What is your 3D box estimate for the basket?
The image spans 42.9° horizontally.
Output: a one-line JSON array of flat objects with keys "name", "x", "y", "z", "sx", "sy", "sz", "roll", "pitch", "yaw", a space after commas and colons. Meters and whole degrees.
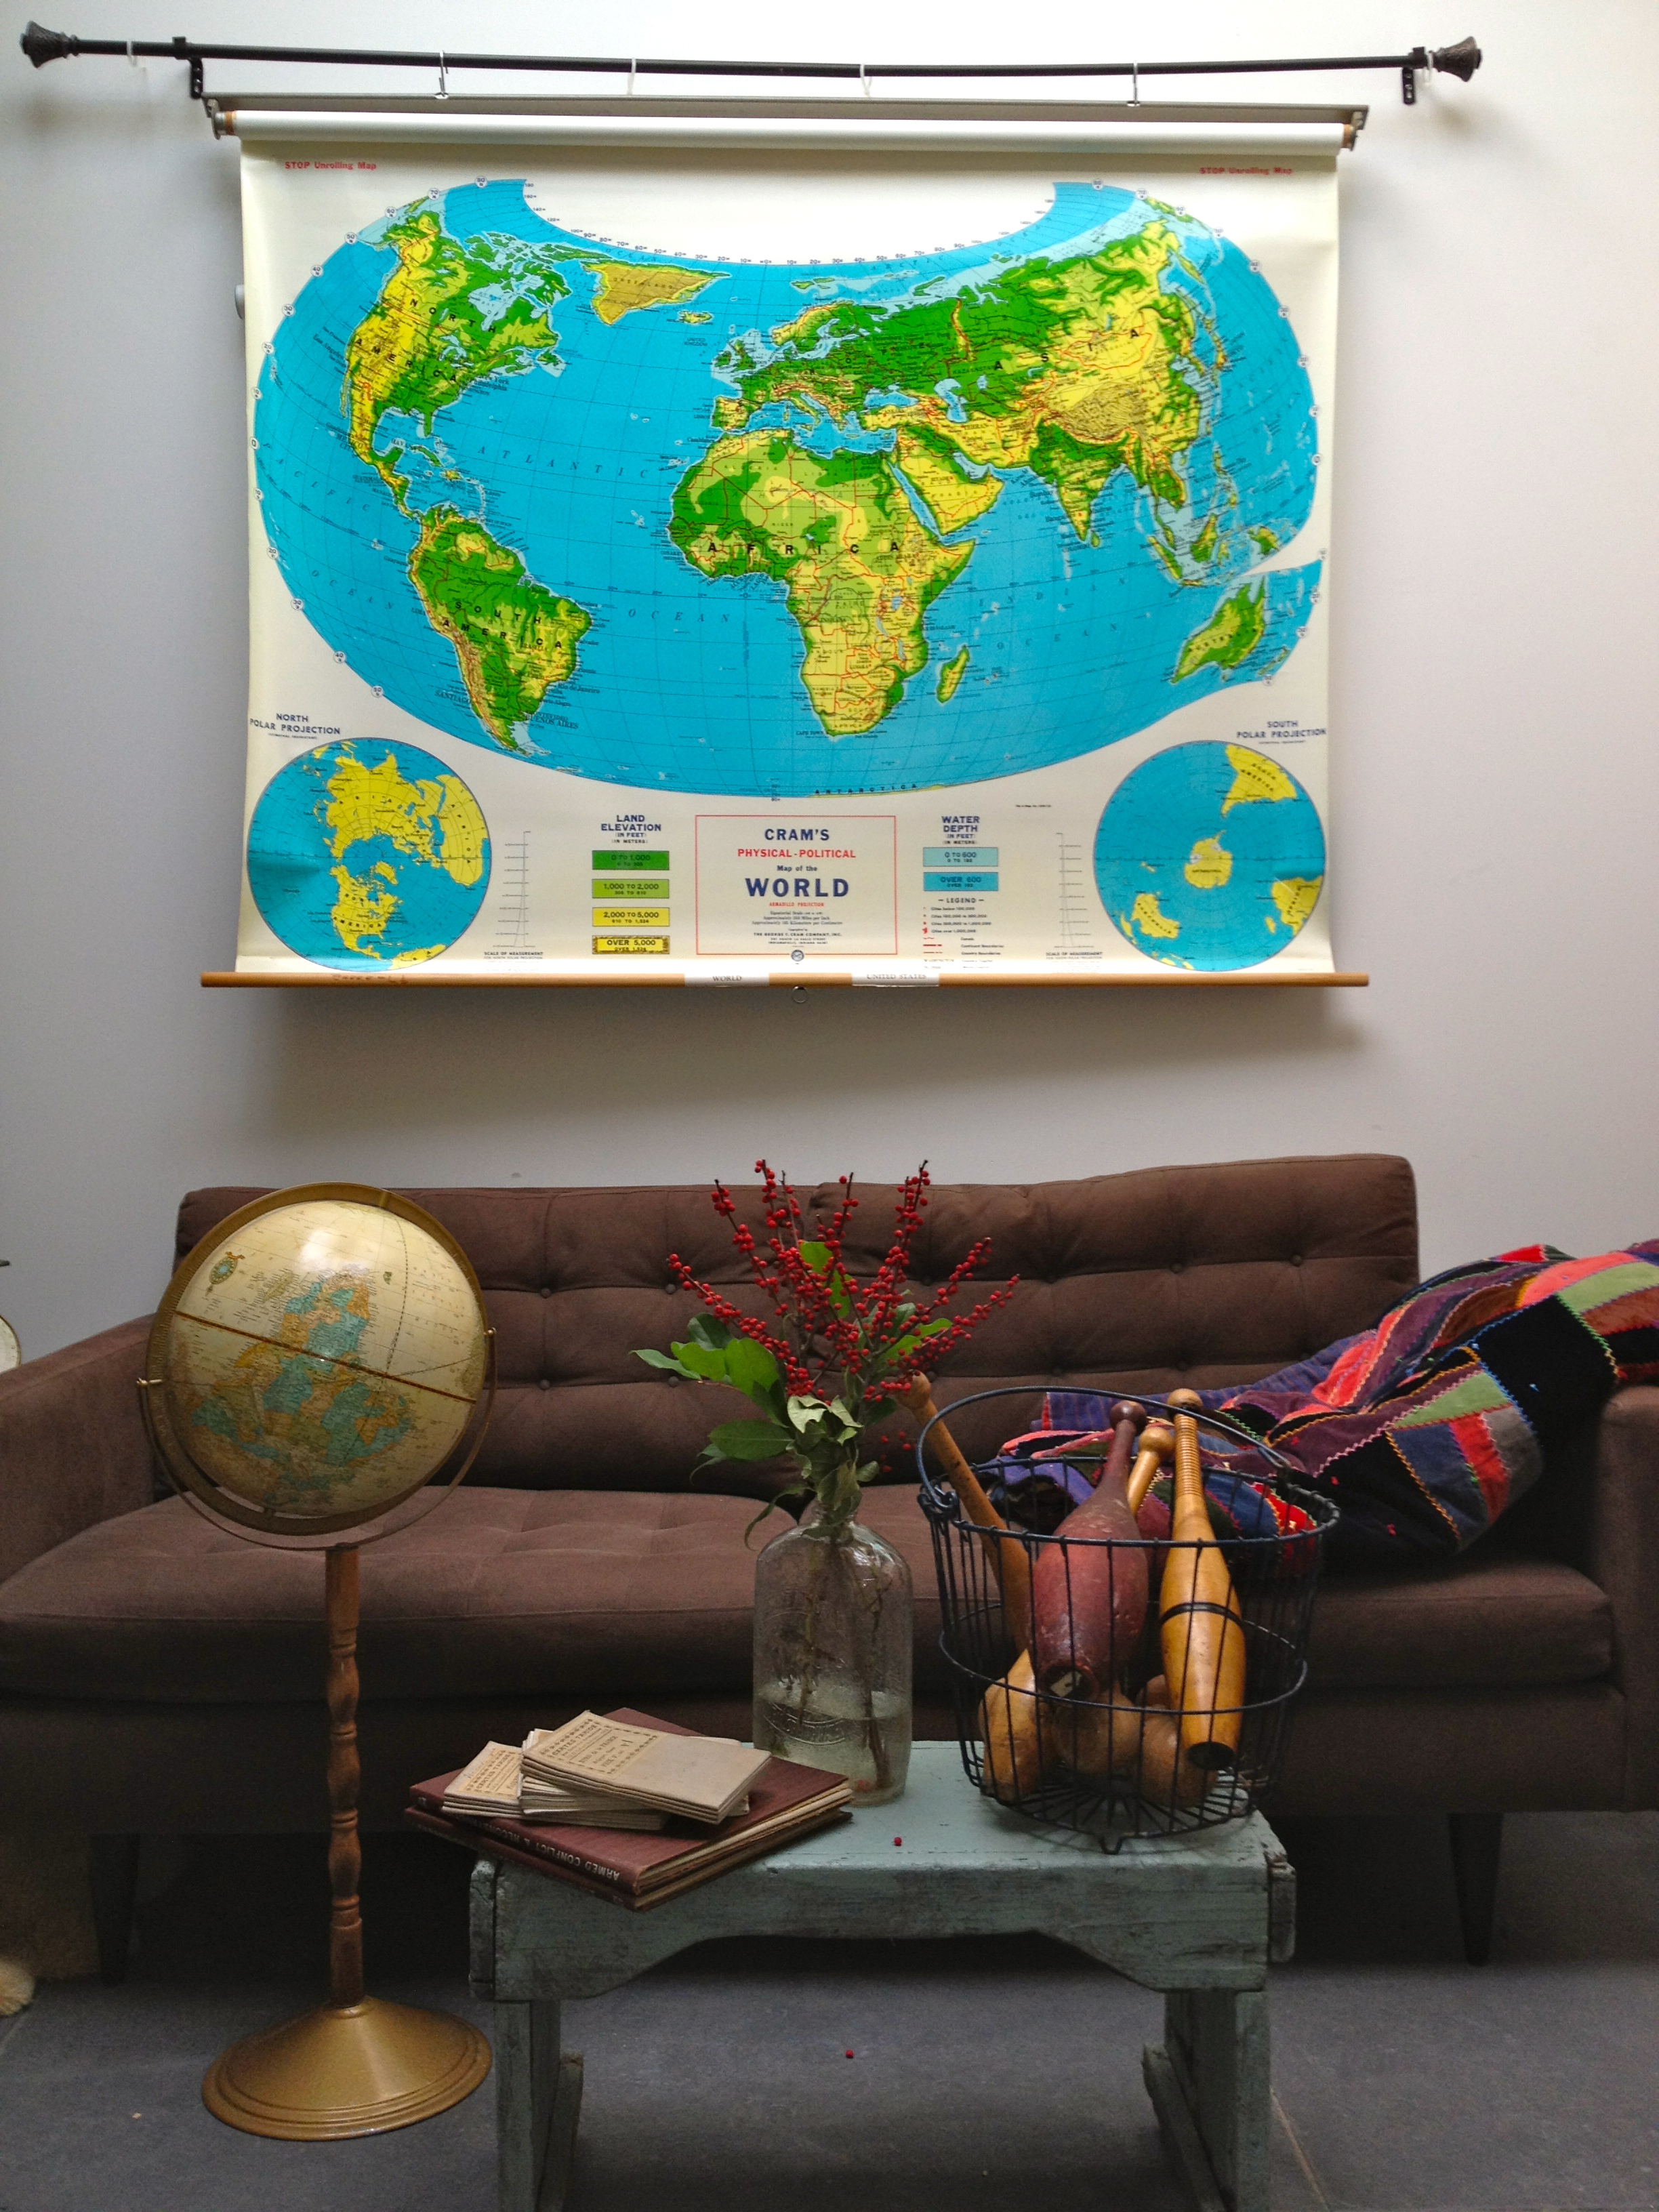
[{"name": "basket", "x": 0.247, "y": 0.408, "z": 1.764, "sx": 0.332, "sy": 0.346, "sz": 0.371, "roll": 4, "pitch": 2, "yaw": 9}]
